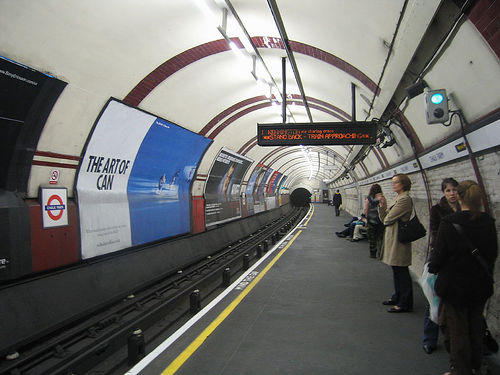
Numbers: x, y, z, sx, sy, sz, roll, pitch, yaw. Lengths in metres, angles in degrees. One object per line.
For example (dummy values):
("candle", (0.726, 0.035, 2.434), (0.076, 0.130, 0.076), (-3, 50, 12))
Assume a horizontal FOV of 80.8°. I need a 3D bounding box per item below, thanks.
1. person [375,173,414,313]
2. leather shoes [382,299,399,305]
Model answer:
("person", (2.611, 0.966, 5.328), (0.639, 2.354, 0.704), (2, -7, 13))
("leather shoes", (2.637, 2.147, 5.534), (0.243, 0.073, 0.091), (10, -14, -34))
